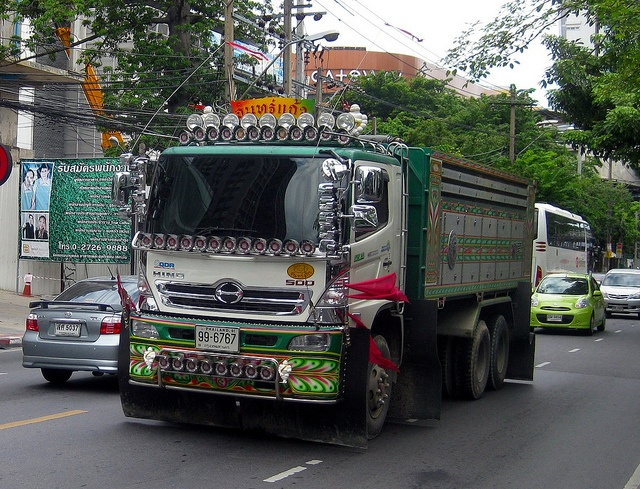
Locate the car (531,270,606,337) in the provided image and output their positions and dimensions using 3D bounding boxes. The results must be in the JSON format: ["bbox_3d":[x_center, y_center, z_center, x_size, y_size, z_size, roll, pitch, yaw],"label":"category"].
[{"bbox_3d":[8.023,1.947,22.937,1.807,1.887,2.227,2,0,44],"label":"car"}]

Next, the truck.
[{"bbox_3d":[0.451,0.607,10.715,3.221,3.647,6.347,-1,-4,32],"label":"truck"}]
